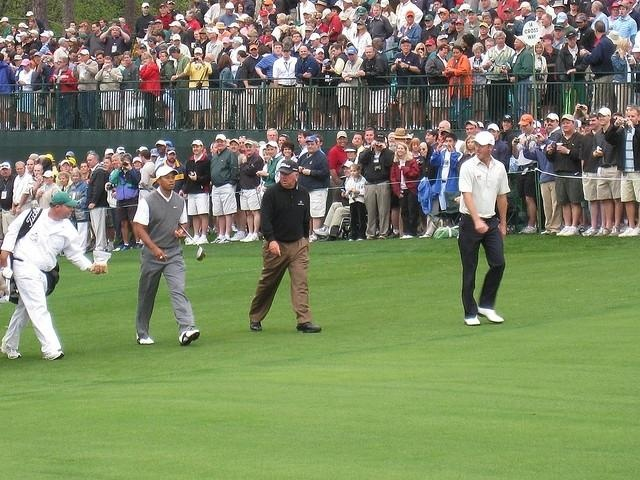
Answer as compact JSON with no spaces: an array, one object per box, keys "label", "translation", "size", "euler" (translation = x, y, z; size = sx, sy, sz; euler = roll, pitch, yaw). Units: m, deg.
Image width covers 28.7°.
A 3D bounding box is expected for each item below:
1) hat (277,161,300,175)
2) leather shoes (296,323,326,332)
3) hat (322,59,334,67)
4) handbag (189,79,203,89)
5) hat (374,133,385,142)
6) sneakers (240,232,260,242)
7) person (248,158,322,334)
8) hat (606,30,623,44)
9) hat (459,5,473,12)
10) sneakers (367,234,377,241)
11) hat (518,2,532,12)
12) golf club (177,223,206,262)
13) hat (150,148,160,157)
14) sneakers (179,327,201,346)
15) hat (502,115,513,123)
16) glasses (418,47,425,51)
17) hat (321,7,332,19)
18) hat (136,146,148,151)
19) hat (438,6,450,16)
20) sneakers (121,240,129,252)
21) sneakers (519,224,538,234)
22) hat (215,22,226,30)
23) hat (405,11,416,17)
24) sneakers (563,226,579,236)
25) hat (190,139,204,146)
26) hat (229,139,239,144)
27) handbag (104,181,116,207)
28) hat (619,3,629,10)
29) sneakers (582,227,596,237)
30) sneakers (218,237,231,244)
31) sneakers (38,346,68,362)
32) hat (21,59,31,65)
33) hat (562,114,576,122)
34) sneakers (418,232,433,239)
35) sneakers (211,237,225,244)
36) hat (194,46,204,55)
[{"label":"hat","translation":[-0.456,-1.095,18.464],"size":[0.299,0.221,0.231],"euler":[-3,11,-8]},{"label":"leather shoes","translation":[-0.167,1.265,18.248],"size":[0.321,0.147,0.144],"euler":[-3,-2,23]},{"label":"hat","translation":[0.191,-4.241,29.792],"size":[0.211,0.226,0.179],"euler":[2,9,-9]},{"label":"handbag","translation":[-3.225,-4.057,32.524],"size":[0.204,0.194,0.291],"euler":[4,-4,-44]},{"label":"hat","translation":[1.279,-2.195,26.373],"size":[0.252,0.186,0.185],"euler":[1,-5,-1]},{"label":"sneakers","translation":[-1.554,-0.061,28.007],"size":[0.162,0.183,0.434],"euler":[-2,-1,39]},{"label":"person","translation":[-0.528,0.099,18.472],"size":[0.996,2.524,0.916],"euler":[-1,10,3]},{"label":"hat","translation":[6.288,-4.334,26.672],"size":[0.262,0.259,0.764],"euler":[1,11,13]},{"label":"hat","translation":[3.472,-5.578,29.927],"size":[0.251,0.142,0.371],"euler":[0,2,16]},{"label":"sneakers","translation":[1.115,-0.067,26.595],"size":[0.227,0.081,0.186],"euler":[0,11,11]},{"label":"hat","translation":[4.747,-5.440,28.858],"size":[0.335,0.189,0.259],"euler":[6,5,14]},{"label":"golf club","translation":[-2.445,0.051,24.029],"size":[0.198,0.790,0.233],"euler":[-20,-21,-24]},{"label":"hat","translation":[-3.946,-2.090,29.864],"size":[0.153,0.168,0.205],"euler":[0,7,-11]},{"label":"sneakers","translation":[-1.868,1.364,17.813],"size":[0.254,0.278,0.380],"euler":[-4,11,-12]},{"label":"hat","translation":[3.830,-2.515,25.519],"size":[0.157,0.145,0.267],"euler":[5,-6,20]},{"label":"glasses","translation":[2.344,-4.379,28.651],"size":[0.035,0.105,0.159],"euler":[7,14,39]},{"label":"hat","translation":[0.139,-5.839,32.083],"size":[0.220,0.161,0.296],"euler":[-36,7,-41]},{"label":"hat","translation":[-4.262,-2.213,30.021],"size":[0.256,0.125,0.374],"euler":[2,8,-18]},{"label":"hat","translation":[2.920,-5.453,29.565],"size":[0.210,0.108,0.311],"euler":[-2,0,13]},{"label":"sneakers","translation":[-4.572,0.096,29.280],"size":[0.215,0.189,0.485],"euler":[-4,11,-10]},{"label":"sneakers","translation":[4.267,-0.211,25.467],"size":[0.369,0.166,0.128],"euler":[2,-1,40]},{"label":"hat","translation":[-2.639,-5.700,33.153],"size":[0.360,0.145,0.426],"euler":[3,8,1]},{"label":"hat","translation":[2.167,-5.447,30.017],"size":[0.211,0.133,0.348],"euler":[-1,4,8]},{"label":"sneakers","translation":[4.959,-0.196,24.796],"size":[0.374,0.177,0.233],"euler":[-1,11,6]},{"label":"hat","translation":[-2.806,-2.303,28.797],"size":[0.222,0.171,0.311],"euler":[1,-7,10]},{"label":"hat","translation":[-1.974,-2.284,28.772],"size":[0.232,0.133,0.355],"euler":[1,-4,-2]},{"label":"handbag","translation":[-4.941,-1.082,29.520],"size":[0.163,0.512,0.344],"euler":[-8,16,-41]},{"label":"hat","translation":[6.688,-5.122,27.327],"size":[0.244,0.182,0.195],"euler":[-2,11,-1]},{"label":"sneakers","translation":[5.280,-0.174,24.675],"size":[0.121,0.160,0.325],"euler":[2,-3,-45]},{"label":"sneakers","translation":[-2.214,-0.003,28.283],"size":[0.371,0.101,0.288],"euler":[2,12,17]},{"label":"sneakers","translation":[-3.704,1.583,17.224],"size":[0.309,0.153,0.124],"euler":[-7,-3,24]},{"label":"hat","translation":[-8.656,-5.237,36.716],"size":[0.282,0.160,0.227],"euler":[5,10,17]},{"label":"hat","translation":[4.844,-2.373,24.389],"size":[0.206,0.156,0.412],"euler":[1,12,14]},{"label":"sneakers","translation":[2.217,-0.096,26.079],"size":[0.292,0.124,0.100],"euler":[-1,4,25]},{"label":"sneakers","translation":[-2.302,0.006,28.364],"size":[0.299,0.136,0.129],"euler":[2,-4,32]},{"label":"hat","translation":[-3.157,-4.902,32.235],"size":[0.211,0.173,0.310],"euler":[2,5,0]}]
